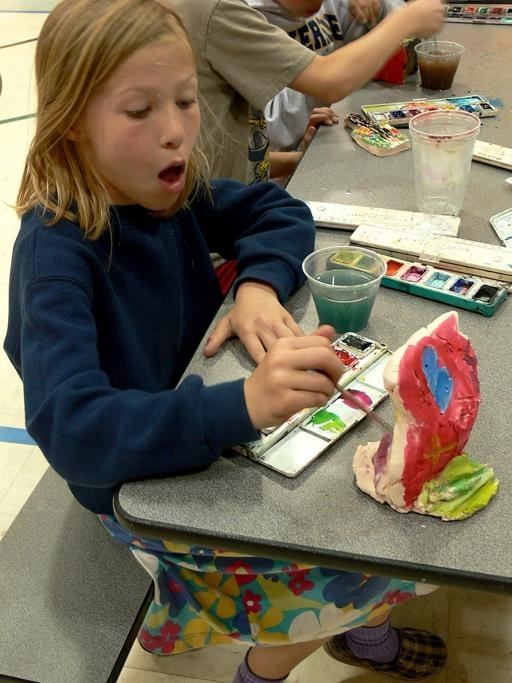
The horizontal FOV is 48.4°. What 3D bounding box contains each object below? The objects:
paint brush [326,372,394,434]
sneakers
[{"bbox_3d":[0.108,0.068,0.600,0.015,0.111,0.011,-17,44,51],"label":"paint brush"},{"bbox_3d":[0.240,0.569,1.052,0.227,0.063,0.086,4,49,10],"label":"sneakers"}]
